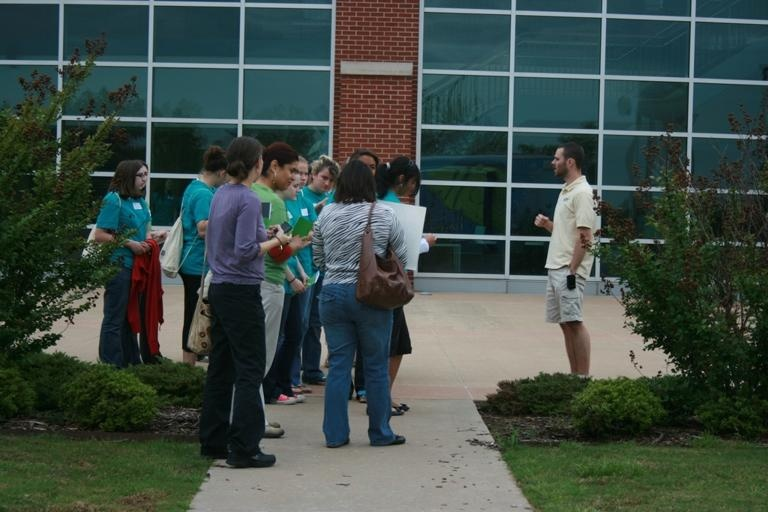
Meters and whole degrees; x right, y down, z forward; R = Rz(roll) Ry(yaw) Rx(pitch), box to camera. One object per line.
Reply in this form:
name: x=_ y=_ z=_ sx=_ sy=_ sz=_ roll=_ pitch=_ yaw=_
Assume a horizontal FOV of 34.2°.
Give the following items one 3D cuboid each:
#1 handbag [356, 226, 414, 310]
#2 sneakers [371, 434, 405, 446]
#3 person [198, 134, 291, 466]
handbag: x=-0.034 y=0.129 z=14.302 sx=0.789 sy=1.066 sz=0.379 roll=6 pitch=-17 yaw=-35
sneakers: x=0.045 y=2.147 z=14.545 sx=0.397 sy=0.164 sz=0.144 roll=-2 pitch=3 yaw=-16
person: x=-1.648 y=0.502 z=13.921 sx=0.834 sy=3.576 sz=0.869 roll=0 pitch=11 yaw=-7
